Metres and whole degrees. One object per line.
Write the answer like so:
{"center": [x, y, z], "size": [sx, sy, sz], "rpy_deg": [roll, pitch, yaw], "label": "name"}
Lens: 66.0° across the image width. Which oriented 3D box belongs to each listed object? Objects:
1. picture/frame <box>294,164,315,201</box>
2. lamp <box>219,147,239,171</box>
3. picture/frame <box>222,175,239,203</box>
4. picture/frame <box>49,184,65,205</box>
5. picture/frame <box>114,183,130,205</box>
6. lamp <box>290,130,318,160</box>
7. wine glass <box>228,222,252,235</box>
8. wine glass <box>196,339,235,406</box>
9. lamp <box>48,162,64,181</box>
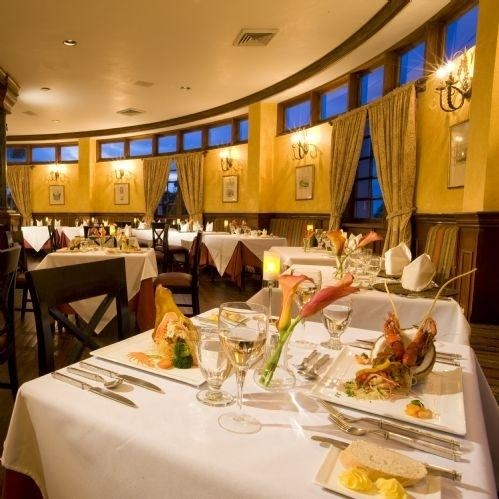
{"center": [1.137, -1.388, 7.819], "size": [0.051, 0.925, 0.640], "rpy_deg": [1, 1, -32], "label": "picture/frame"}
{"center": [-0.485, -2.242, 9.454], "size": [0.182, 0.608, 0.526], "rpy_deg": [-5, 6, -38], "label": "lamp"}
{"center": [-0.459, -1.513, 9.491], "size": [0.073, 0.911, 0.591], "rpy_deg": [3, -4, -41], "label": "picture/frame"}
{"center": [-6.191, -1.800, 12.384], "size": [0.441, 0.720, 0.042], "rpy_deg": [7, 17, 4], "label": "picture/frame"}
{"center": [-3.891, -1.734, 11.760], "size": [0.486, 0.794, 0.073], "rpy_deg": [3, 2, 19], "label": "picture/frame"}
{"center": [1.066, -2.117, 7.748], "size": [0.154, 0.608, 0.729], "rpy_deg": [-3, 6, -36], "label": "lamp"}
{"center": [-0.191, -0.395, 7.367], "size": [0.377, 0.154, 0.322], "rpy_deg": [1, 2, 8], "label": "wine glass"}
{"center": [-0.072, 0.252, 0.800], "size": [0.090, 0.197, 0.117], "rpy_deg": [1, -7, -3], "label": "wine glass"}
{"center": [-6.177, -2.470, 12.266], "size": [0.567, 0.593, 0.212], "rpy_deg": [2, 5, 23], "label": "lamp"}
